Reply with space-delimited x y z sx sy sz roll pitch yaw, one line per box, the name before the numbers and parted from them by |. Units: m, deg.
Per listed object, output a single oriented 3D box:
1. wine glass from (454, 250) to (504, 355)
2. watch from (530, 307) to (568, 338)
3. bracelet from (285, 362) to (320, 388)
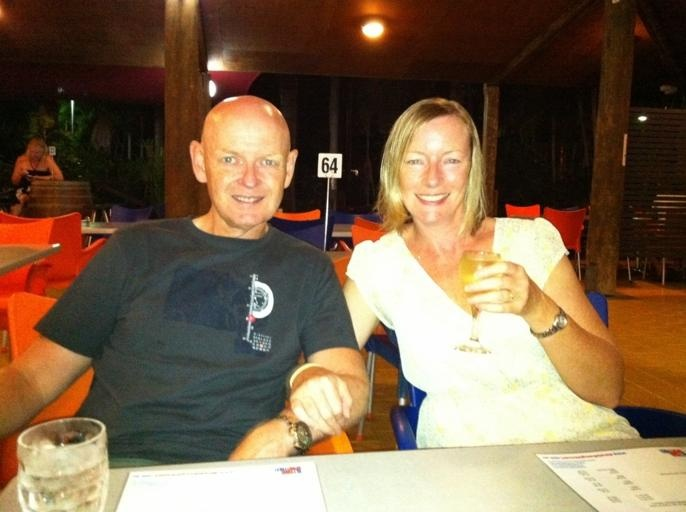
wine glass | 0.467 0.189 1.865 0.128 0.413 0.378 3 13 13
watch | 0.686 0.231 1.799 0.100 0.049 0.101 -18 15 30
bracelet | -0.151 0.417 1.894 0.094 0.095 0.026 30 9 -5
